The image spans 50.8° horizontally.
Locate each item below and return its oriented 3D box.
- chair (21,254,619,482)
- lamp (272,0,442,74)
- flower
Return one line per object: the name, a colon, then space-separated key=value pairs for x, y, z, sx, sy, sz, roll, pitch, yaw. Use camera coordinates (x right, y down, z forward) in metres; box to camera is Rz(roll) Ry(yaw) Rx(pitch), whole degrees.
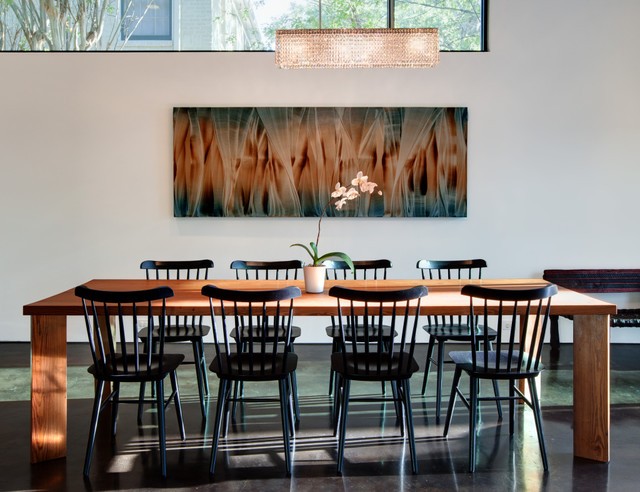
chair: x=0.006 y=0.911 z=5.116 sx=4.148 sy=1.307 sz=0.842 roll=-2 pitch=3 yaw=0
lamp: x=0.288 y=-1.556 z=5.336 sx=1.267 sy=0.294 sz=0.167 roll=-2 pitch=3 yaw=-3
flower: x=0.086 y=-0.199 z=5.539 sx=0.578 sy=0.846 sz=0.472 roll=7 pitch=-9 yaw=-14
